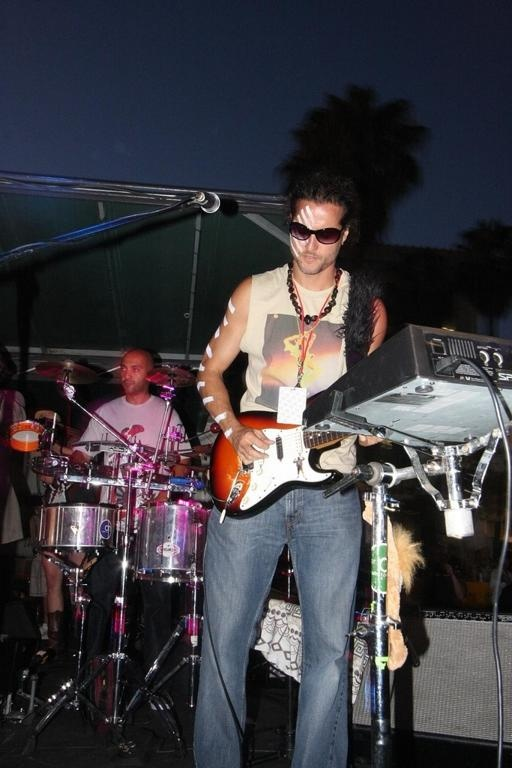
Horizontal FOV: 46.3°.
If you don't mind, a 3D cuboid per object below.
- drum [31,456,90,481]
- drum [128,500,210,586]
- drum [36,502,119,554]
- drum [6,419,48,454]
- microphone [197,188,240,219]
[{"bbox_3d":[-1.176,0.511,3.666,0.317,0.099,0.429,-3,0,3],"label":"drum"},{"bbox_3d":[-0.516,0.910,3.673,0.535,0.579,0.480,-1,2,-24],"label":"drum"},{"bbox_3d":[-1.002,0.802,3.376,0.433,0.277,0.333,0,2,-19],"label":"drum"},{"bbox_3d":[-1.452,0.304,3.869,0.230,0.080,0.235,-5,-43,-4],"label":"drum"},{"bbox_3d":[-0.212,-0.968,3.233,0.136,0.132,0.436,-23,15,0],"label":"microphone"}]
